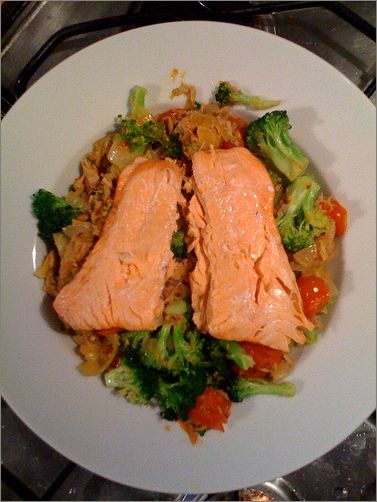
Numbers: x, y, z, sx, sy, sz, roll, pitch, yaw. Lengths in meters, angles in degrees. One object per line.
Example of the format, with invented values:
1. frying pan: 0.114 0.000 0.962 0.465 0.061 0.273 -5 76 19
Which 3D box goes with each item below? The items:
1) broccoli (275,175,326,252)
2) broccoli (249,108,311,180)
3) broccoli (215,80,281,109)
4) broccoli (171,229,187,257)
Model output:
1. broccoli: 0.625 -0.194 2.542 0.335 0.168 0.379 -11 88 10
2. broccoli: 0.513 -0.598 2.593 0.318 0.160 0.390 -44 90 4
3. broccoli: 0.325 -0.828 2.493 0.323 0.116 0.136 15 58 15
4. broccoli: -0.050 -0.040 2.524 0.080 0.126 0.128 -7 82 6
